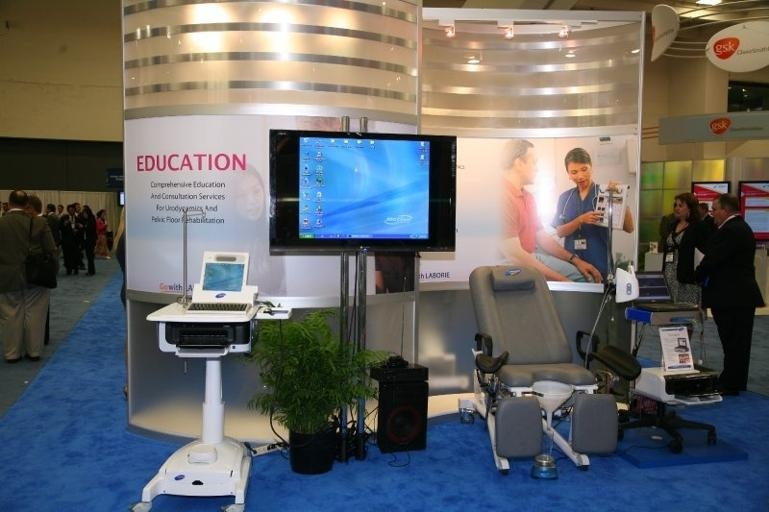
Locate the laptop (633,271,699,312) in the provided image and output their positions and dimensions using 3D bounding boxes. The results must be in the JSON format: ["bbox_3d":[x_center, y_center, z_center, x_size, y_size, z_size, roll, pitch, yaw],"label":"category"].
[{"bbox_3d":[2.583,0.335,6.223,0.566,0.289,0.520,-2,8,-40],"label":"laptop"}]

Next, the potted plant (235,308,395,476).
[{"bbox_3d":[-0.607,1.102,6.075,1.426,1.454,1.201,2,-5,-8],"label":"potted plant"}]

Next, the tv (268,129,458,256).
[{"bbox_3d":[-0.197,-0.539,5.566,1.562,0.978,0.035,1,2,6],"label":"tv"}]

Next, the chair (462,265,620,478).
[{"bbox_3d":[1.321,0.996,6.172,1.058,1.546,1.757,-1,7,-7],"label":"chair"}]

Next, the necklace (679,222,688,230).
[{"bbox_3d":[3.795,-0.368,8.526,0.070,0.096,0.038,-3,-34,36],"label":"necklace"}]

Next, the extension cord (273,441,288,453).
[{"bbox_3d":[-0.900,1.655,5.802,0.096,0.041,0.096,4,-1,-28],"label":"extension cord"}]

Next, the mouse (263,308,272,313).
[{"bbox_3d":[-0.942,0.438,5.335,0.038,0.029,0.068,-2,5,-6],"label":"mouse"}]

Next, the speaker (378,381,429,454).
[{"bbox_3d":[0.126,1.388,5.937,0.452,0.614,0.345,0,6,-15],"label":"speaker"}]

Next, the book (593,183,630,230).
[{"bbox_3d":[2.278,-0.487,6.724,0.318,0.434,0.103,8,3,34],"label":"book"}]

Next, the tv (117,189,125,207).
[{"bbox_3d":[-7.204,-1.530,18.177,0.053,0.570,1.495,-5,13,-25],"label":"tv"}]

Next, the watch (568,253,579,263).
[{"bbox_3d":[1.937,0.030,6.876,0.029,0.080,0.059,15,6,-24],"label":"watch"}]
